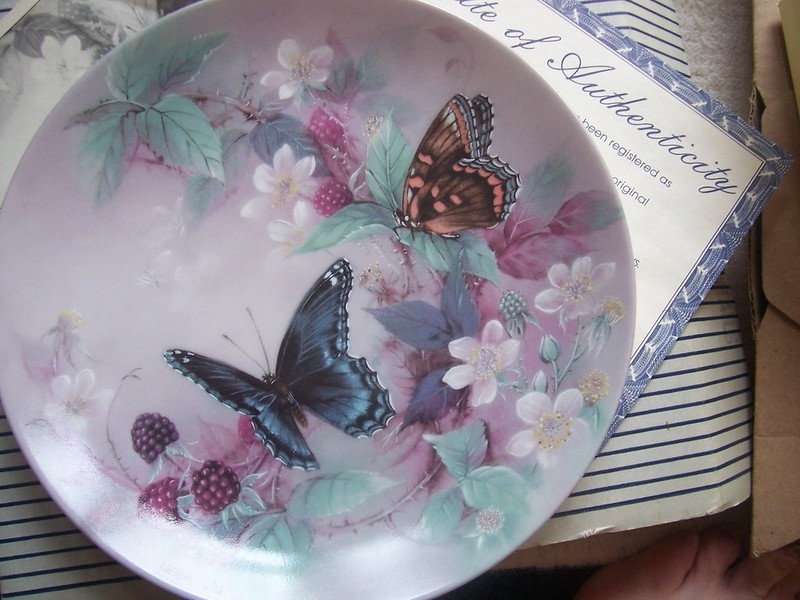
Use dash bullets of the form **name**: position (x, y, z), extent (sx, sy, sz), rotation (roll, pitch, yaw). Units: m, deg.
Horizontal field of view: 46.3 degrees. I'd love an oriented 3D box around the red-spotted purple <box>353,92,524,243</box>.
- **red-spotted purple**: position (0.087, -0.177, 1.313), extent (0.167, 0.135, 0.164), rotation (24, 62, 6)
